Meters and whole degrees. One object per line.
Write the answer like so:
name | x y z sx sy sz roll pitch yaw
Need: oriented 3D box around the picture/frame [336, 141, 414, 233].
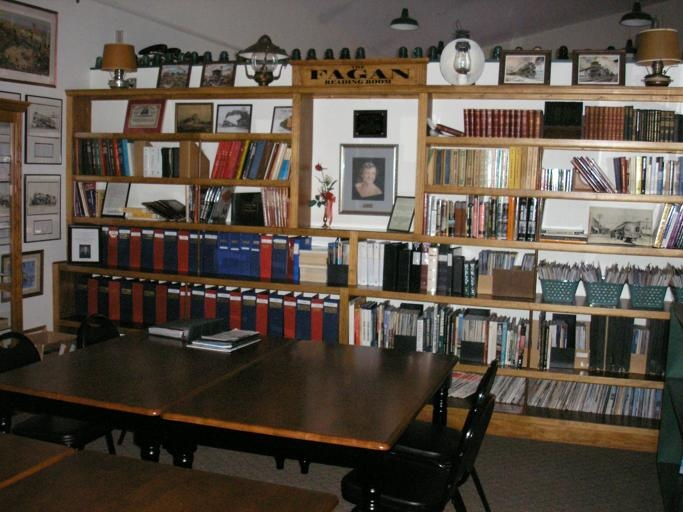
picture/frame | 0.314 -0.603 4.965 0.811 0.897 0.070 3 7 15

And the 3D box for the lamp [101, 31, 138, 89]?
lamp | -1.905 -1.696 5.019 0.303 0.467 0.301 5 16 0

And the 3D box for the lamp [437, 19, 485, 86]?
lamp | 0.800 -1.335 3.881 0.342 0.393 0.332 0 8 -17

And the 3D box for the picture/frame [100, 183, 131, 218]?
picture/frame | -2.101 -0.544 5.532 0.369 0.353 0.092 -1 1 43

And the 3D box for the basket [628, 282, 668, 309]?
basket | 2.270 0.300 4.318 0.241 0.146 0.171 0 2 -31

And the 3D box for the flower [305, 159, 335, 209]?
flower | -0.156 -0.619 5.076 0.349 0.440 0.335 1 1 10

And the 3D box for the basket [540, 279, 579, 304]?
basket | 1.649 0.269 4.430 0.179 0.142 0.255 2 2 29

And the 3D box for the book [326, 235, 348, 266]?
book | -0.031 -0.035 4.860 0.224 0.294 0.161 4 9 21

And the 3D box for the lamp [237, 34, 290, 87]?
lamp | -0.599 -1.525 4.610 0.361 0.339 0.843 1 12 -5

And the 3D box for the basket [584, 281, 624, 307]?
basket | 1.953 0.288 4.366 0.257 0.181 0.177 7 13 20
